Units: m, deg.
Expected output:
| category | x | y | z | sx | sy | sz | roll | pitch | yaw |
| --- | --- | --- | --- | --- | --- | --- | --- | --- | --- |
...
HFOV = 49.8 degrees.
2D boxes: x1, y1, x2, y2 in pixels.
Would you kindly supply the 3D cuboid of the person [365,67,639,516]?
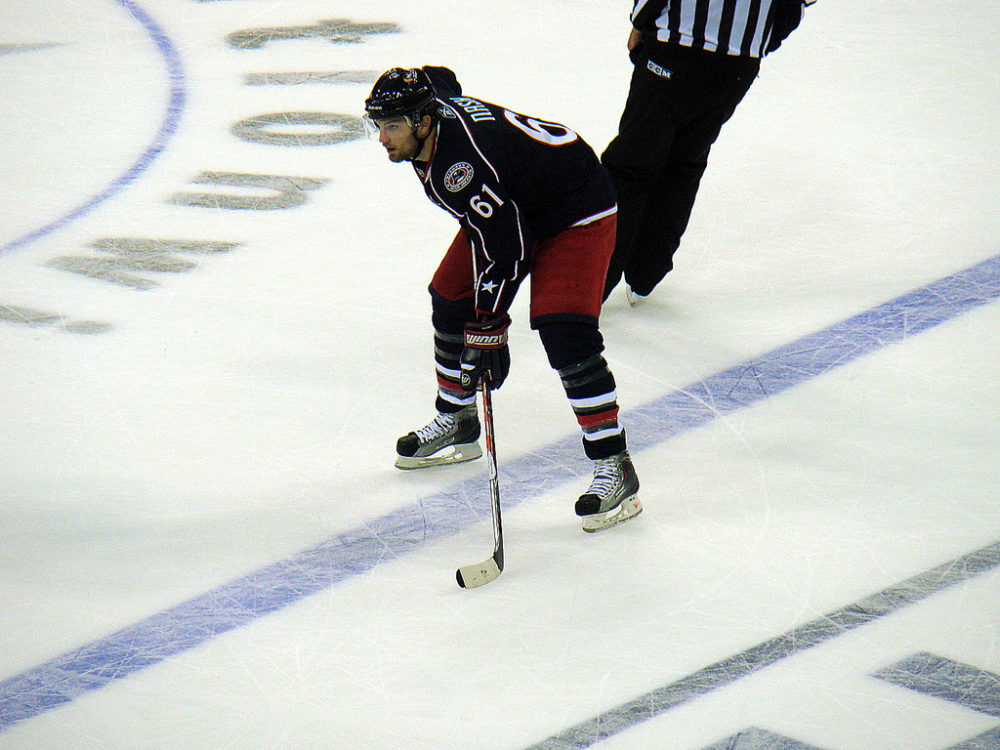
| category | x | y | z | sx | sy | sz | roll | pitch | yaw |
| --- | --- | --- | --- | --- | --- | --- | --- | --- | --- |
| person | 0.051 | -0.274 | 3.540 | 0.885 | 1.509 | 0.589 | 2 | 10 | 4 |
